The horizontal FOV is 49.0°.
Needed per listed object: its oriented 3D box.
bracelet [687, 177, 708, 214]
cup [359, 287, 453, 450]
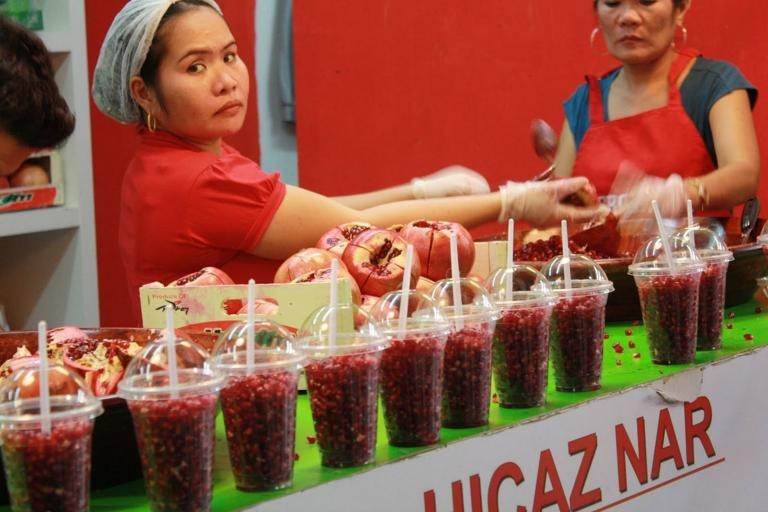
[{"bbox_3d":[1.141,-0.228,3.089,0.067,0.094,0.088,-26,-55,19],"label":"bracelet"},{"bbox_3d":[0.035,0.244,1.849,0.242,0.395,0.268,0,-1,-5],"label":"cup"}]
